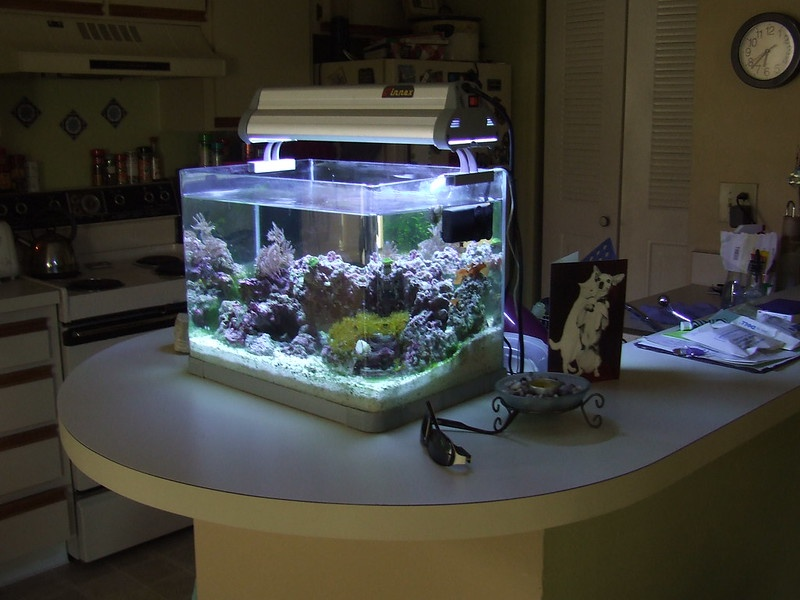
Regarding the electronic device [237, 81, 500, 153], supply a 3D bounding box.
[{"bbox_3d":[-0.103,-0.457,1.620,0.589,0.150,0.242,8,21,25],"label":"electronic device"}]
